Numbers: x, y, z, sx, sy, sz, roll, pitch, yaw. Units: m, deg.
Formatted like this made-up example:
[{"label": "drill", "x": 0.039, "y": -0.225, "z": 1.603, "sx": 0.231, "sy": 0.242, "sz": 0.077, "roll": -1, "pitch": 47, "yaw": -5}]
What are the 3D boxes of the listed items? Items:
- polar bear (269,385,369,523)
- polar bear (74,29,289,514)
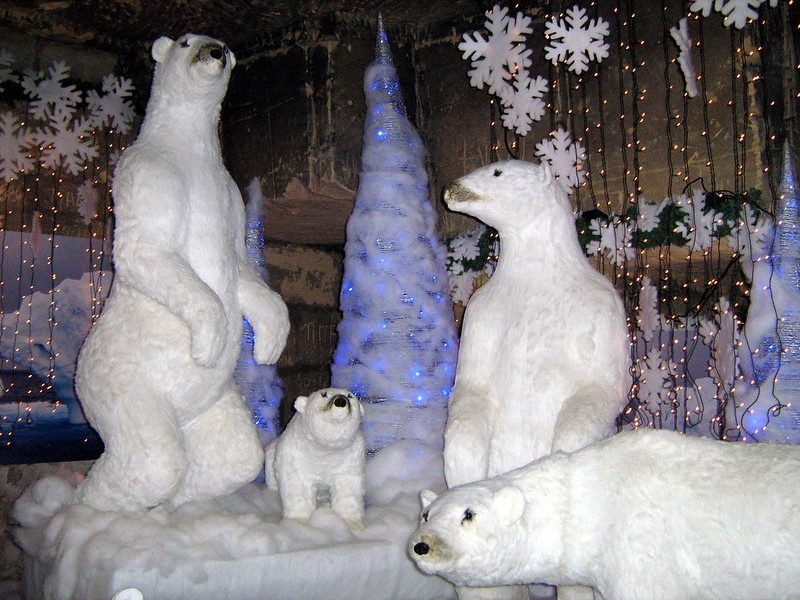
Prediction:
[{"label": "polar bear", "x": -0.376, "y": 0.732, "z": 5.539, "sx": 0.518, "sy": 0.638, "sz": 0.729, "roll": 4, "pitch": 2, "yaw": -19}, {"label": "polar bear", "x": -1.033, "y": -0.151, "z": 5.323, "sx": 0.945, "sy": 2.215, "sz": 0.503, "roll": -1, "pitch": 5, "yaw": -23}]
